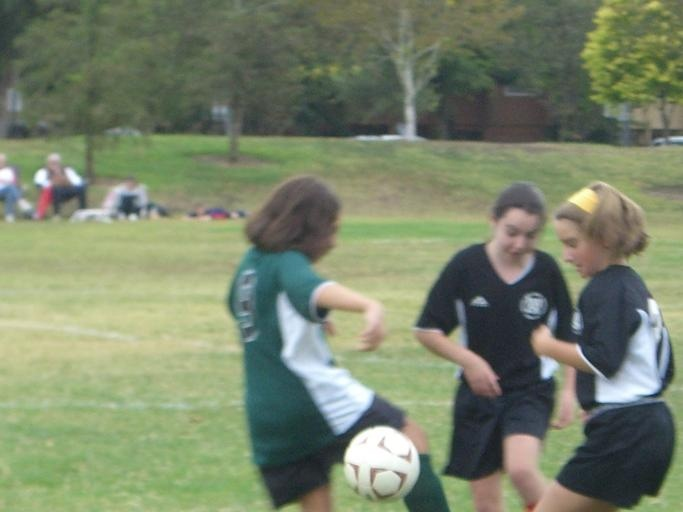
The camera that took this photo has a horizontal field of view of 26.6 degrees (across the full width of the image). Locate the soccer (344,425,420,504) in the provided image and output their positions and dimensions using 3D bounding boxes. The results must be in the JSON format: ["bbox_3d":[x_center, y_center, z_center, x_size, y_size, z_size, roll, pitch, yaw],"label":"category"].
[{"bbox_3d":[0.241,1.129,7.879,0.467,0.398,0.414,-7,-10,2],"label":"soccer"}]
